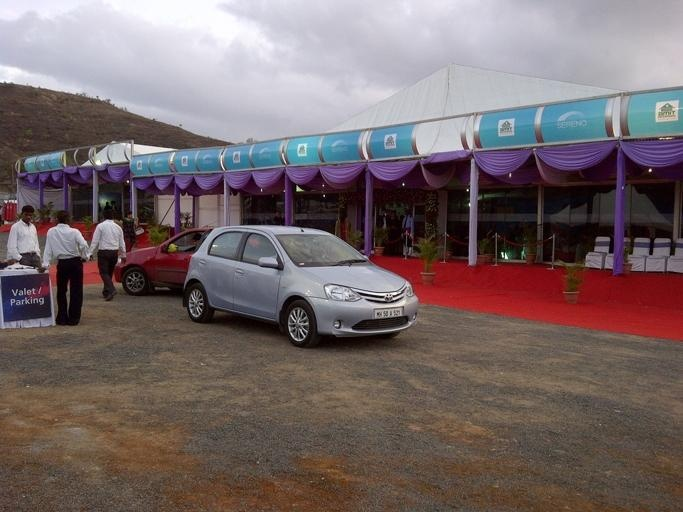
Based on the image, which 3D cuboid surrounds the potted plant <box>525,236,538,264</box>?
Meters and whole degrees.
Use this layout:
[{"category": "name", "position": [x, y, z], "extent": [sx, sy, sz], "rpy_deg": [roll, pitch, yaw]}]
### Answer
[{"category": "potted plant", "position": [8.319, -0.264, 18.193], "extent": [0.472, 1.117, 1.844], "rpy_deg": [3, 3, 25]}]

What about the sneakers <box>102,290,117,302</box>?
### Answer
[{"category": "sneakers", "position": [-6.046, 1.022, 10.856], "extent": [0.225, 0.228, 0.562], "rpy_deg": [8, -5, -15]}]

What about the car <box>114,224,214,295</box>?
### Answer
[{"category": "car", "position": [-4.863, 0.142, 12.063], "extent": [3.033, 1.834, 1.766], "rpy_deg": [4, 2, 16]}]

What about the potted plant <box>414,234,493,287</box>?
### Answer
[{"category": "potted plant", "position": [4.081, 0.058, 16.372], "extent": [1.753, 2.938, 2.036], "rpy_deg": [4, -4, -8]}]

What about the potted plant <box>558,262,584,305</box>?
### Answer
[{"category": "potted plant", "position": [7.033, 0.747, 12.590], "extent": [0.562, 1.070, 2.193], "rpy_deg": [3, 3, 29]}]

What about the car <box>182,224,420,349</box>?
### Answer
[{"category": "car", "position": [-0.864, 0.477, 7.852], "extent": [4.401, 2.042, 1.446], "rpy_deg": [4, 4, 30]}]
